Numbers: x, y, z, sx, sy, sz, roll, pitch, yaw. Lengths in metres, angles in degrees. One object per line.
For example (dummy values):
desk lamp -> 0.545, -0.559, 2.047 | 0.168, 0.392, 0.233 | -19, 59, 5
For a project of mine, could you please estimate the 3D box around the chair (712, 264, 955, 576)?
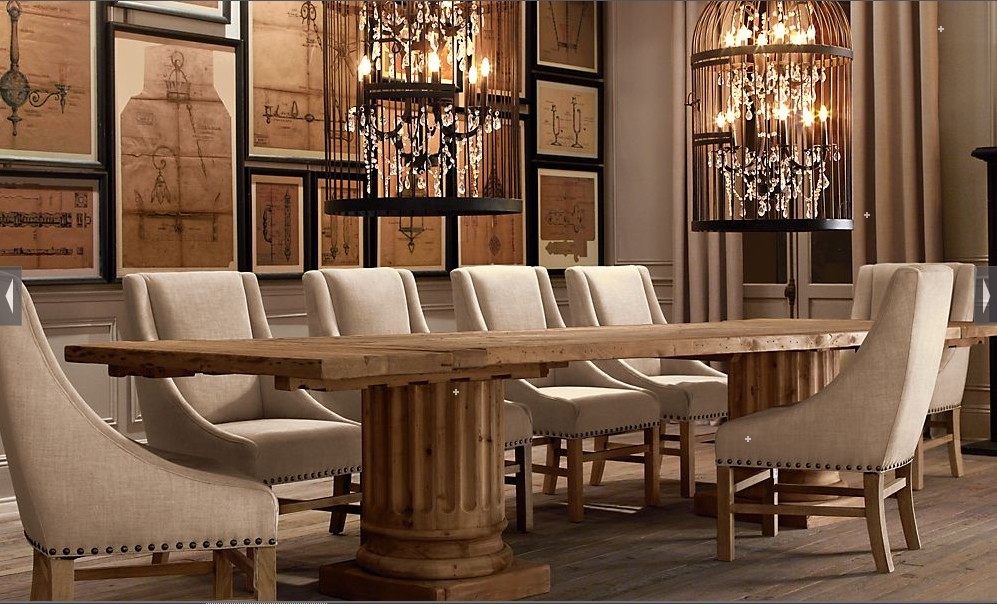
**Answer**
chair -> 1.590, 0.567, 4.268 | 1.049, 1.218, 1.060 | -6, -9, 43

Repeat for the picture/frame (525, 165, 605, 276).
picture/frame -> 0.605, -0.675, 7.471 | 0.162, 0.829, 0.722 | 4, 7, 44

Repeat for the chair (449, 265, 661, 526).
chair -> 0.312, 0.474, 5.062 | 0.964, 1.279, 0.816 | 4, 4, 43

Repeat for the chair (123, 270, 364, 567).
chair -> -1.198, 0.504, 4.180 | 0.948, 1.222, 0.839 | 5, 5, 25

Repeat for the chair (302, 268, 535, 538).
chair -> -0.584, 0.512, 4.605 | 0.826, 1.185, 0.925 | -5, 23, -41

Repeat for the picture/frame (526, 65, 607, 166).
picture/frame -> 0.541, -1.533, 7.404 | 0.986, 0.765, 0.044 | 0, 1, -42
